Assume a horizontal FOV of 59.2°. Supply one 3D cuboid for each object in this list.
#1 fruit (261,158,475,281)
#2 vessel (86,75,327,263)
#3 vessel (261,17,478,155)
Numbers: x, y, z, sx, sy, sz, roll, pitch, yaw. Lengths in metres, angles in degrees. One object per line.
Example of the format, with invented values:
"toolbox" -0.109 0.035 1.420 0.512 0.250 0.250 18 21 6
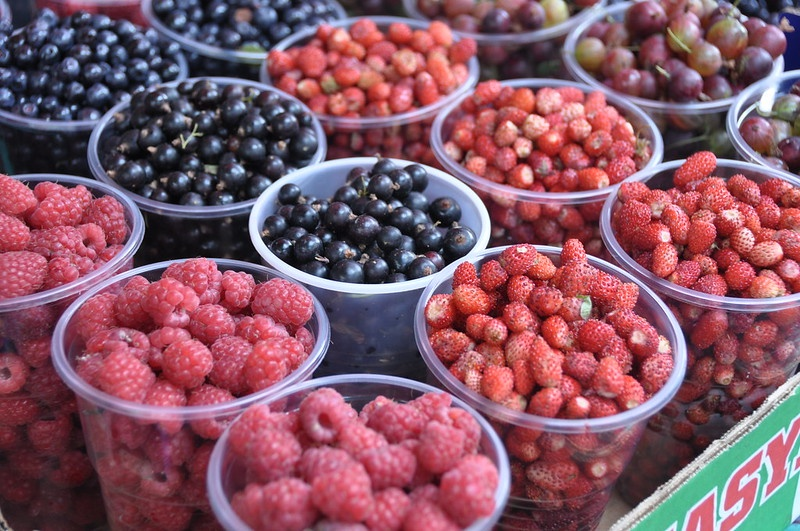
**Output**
"fruit" -0.133 -0.122 2.490 0.492 0.276 0.518 2 24 2
"vessel" -0.798 -0.427 2.774 0.766 0.564 0.790 30 43 22
"vessel" -0.116 -0.807 3.092 0.738 0.424 0.751 -16 34 -34
